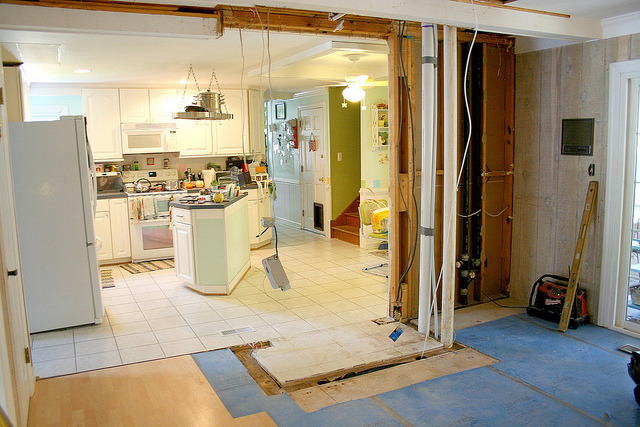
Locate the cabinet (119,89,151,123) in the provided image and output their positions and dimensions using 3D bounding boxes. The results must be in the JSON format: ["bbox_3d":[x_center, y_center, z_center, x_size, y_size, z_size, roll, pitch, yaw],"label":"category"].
[{"bbox_3d":[-3.470,-2.039,8.113,0.583,0.663,0.476,1,33,-18],"label":"cabinet"}]

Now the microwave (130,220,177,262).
[{"bbox_3d":[-2.907,0.466,7.515,0.768,0.646,0.492,-4,5,-36],"label":"microwave"}]

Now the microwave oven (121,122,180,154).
[{"bbox_3d":[-3.093,-1.353,8.287,1.099,0.582,0.668,-1,-1,-1],"label":"microwave oven"}]

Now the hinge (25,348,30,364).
[{"bbox_3d":[-2.612,1.278,3.887,0.020,0.165,0.163,-1,-2,-40],"label":"hinge"}]

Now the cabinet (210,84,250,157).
[{"bbox_3d":[-1.800,-1.771,8.770,0.911,1.408,0.856,-2,-3,-24],"label":"cabinet"}]

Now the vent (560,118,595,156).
[{"bbox_3d":[3.032,-0.889,5.176,0.413,0.435,0.051,0,3,-7],"label":"vent"}]

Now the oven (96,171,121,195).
[{"bbox_3d":[-3.614,-0.491,7.429,0.497,0.303,0.269,-2,16,-16],"label":"oven"}]

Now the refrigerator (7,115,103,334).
[{"bbox_3d":[-3.063,0.146,5.079,0.823,2.480,0.433,-5,15,-17],"label":"refrigerator"}]

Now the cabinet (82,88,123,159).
[{"bbox_3d":[-4.024,-1.627,8.082,0.780,1.221,0.776,5,25,-6],"label":"cabinet"}]

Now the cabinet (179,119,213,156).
[{"bbox_3d":[-2.226,-1.484,8.522,0.855,0.750,0.512,3,11,29],"label":"cabinet"}]

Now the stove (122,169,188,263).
[{"bbox_3d":[-2.937,-0.038,7.872,0.969,1.343,0.744,-4,28,7],"label":"stove"}]
